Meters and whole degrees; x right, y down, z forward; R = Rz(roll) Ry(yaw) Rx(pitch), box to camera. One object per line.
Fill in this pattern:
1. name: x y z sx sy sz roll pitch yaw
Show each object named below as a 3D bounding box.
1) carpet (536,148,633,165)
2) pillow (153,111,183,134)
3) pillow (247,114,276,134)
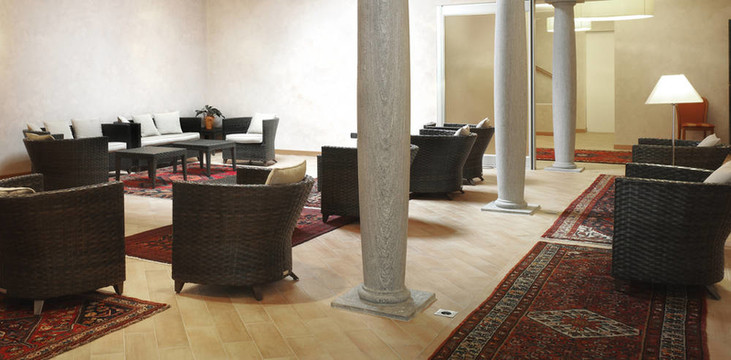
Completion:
1. carpet: 6.275 -0.740 12.544 2.507 0.185 2.266 4 12 18
2. pillow: -5.415 -1.574 11.904 0.843 0.534 0.332 -11 18 -42
3. pillow: -2.829 -1.544 12.186 0.788 0.564 0.215 4 -17 31
